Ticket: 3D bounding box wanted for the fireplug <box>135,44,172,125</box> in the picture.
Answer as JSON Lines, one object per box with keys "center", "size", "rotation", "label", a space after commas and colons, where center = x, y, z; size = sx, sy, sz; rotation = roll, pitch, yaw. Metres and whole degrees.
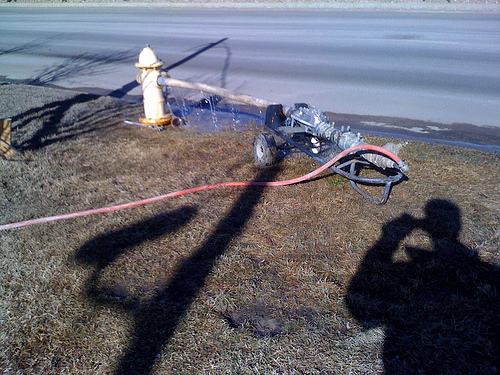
{"center": [-2.253, -2.352, 8.321], "size": [0.904, 1.714, 0.880], "rotation": [6, 27, 15], "label": "fireplug"}
